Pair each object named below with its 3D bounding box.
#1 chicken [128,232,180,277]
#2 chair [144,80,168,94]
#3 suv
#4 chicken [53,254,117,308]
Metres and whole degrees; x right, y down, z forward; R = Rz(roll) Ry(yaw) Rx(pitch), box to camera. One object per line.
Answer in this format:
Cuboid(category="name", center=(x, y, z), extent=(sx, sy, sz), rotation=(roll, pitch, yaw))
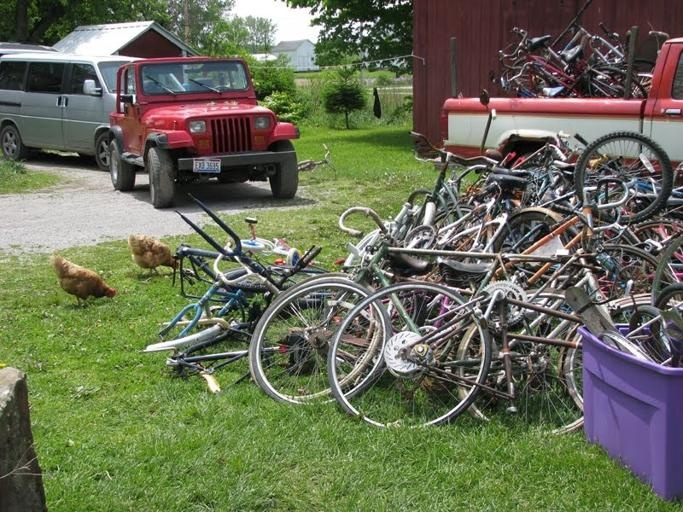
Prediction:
Cuboid(category="chicken", center=(-2.142, 0.005, 7.555), extent=(0.602, 0.404, 0.292), rotation=(16, -1, -40))
Cuboid(category="chair", center=(-3.258, -2.954, 11.827), extent=(0.190, 0.127, 0.304), rotation=(3, -5, 39))
Cuboid(category="suv", center=(-2.866, -2.403, 12.763), extent=(2.554, 2.466, 4.876), rotation=(-9, 16, -29))
Cuboid(category="chicken", center=(-2.570, 0.236, 6.735), extent=(0.548, 0.487, 0.226), rotation=(-6, 16, -20))
